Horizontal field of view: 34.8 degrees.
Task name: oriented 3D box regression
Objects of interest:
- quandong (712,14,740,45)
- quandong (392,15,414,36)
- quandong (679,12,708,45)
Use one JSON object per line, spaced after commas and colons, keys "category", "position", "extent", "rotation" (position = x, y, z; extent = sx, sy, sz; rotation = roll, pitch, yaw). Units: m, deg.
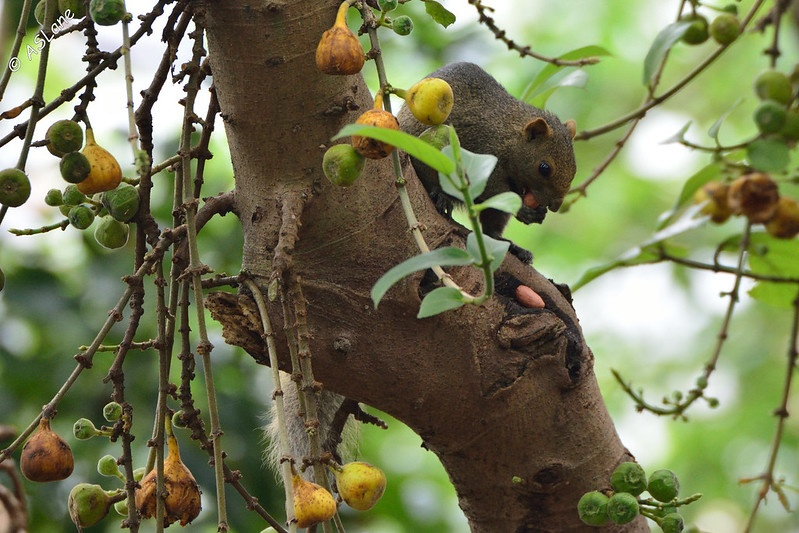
{"category": "quandong", "position": [1.232, -0.904, 4.801], "extent": [0.103, 0.065, 0.103], "rotation": [46, -79, 10]}
{"category": "quandong", "position": [0.018, -0.900, 4.726], "extent": [0.070, 0.042, 0.076], "rotation": [35, -94, -6]}
{"category": "quandong", "position": [1.109, -0.896, 4.829], "extent": [0.098, 0.112, 0.160], "rotation": [7, -57, 5]}
